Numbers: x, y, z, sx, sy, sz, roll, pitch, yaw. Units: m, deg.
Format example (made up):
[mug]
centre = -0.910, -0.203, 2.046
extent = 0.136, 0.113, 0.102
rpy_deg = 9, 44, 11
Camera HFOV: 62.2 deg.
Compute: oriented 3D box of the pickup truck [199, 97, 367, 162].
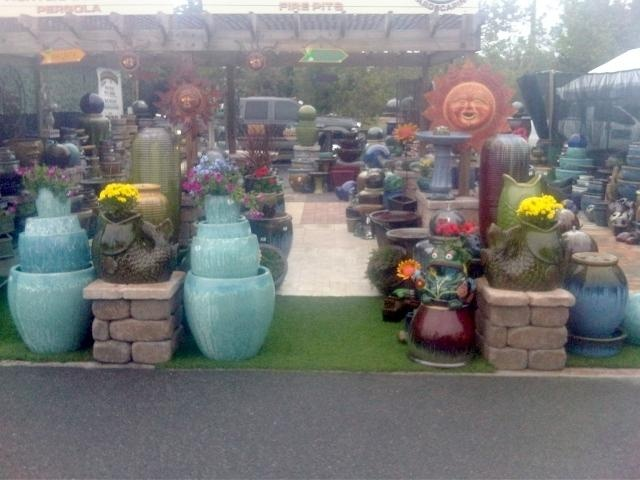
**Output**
[pickup truck]
centre = -1.020, -4.115, 19.582
extent = 4.846, 2.561, 2.374
rpy_deg = -1, 16, 13
